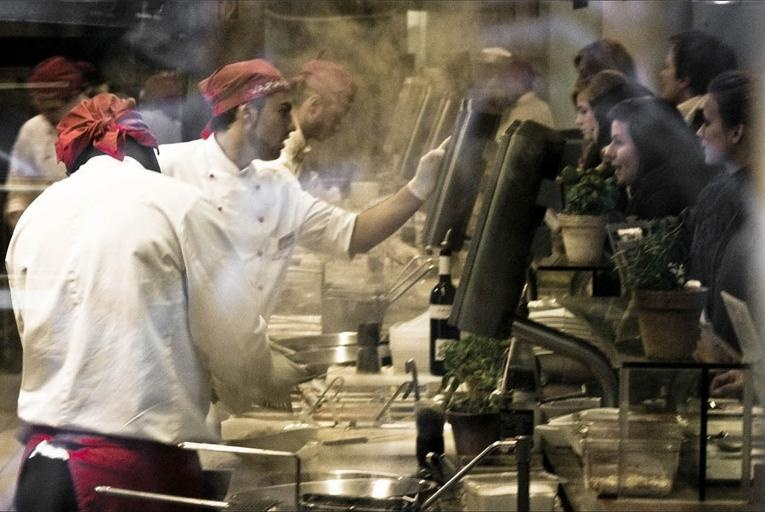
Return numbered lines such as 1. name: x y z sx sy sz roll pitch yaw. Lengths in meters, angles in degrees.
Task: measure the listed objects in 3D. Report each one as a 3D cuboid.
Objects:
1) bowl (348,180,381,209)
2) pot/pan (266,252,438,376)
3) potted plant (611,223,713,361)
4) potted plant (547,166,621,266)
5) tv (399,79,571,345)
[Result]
1. bowl: -0.055 -0.184 3.918 0.093 0.069 0.090 1 0 0
2. pot/pan: -0.105 0.176 3.768 0.547 0.299 0.289 -1 1 -2
3. potted plant: 0.858 0.100 3.975 0.274 0.363 0.231 -1 1 -25
4. potted plant: 0.585 -0.115 3.986 0.257 0.262 0.184 1 6 -29
5. tv: 0.308 -0.124 3.884 0.200 0.624 0.756 11 14 -21
